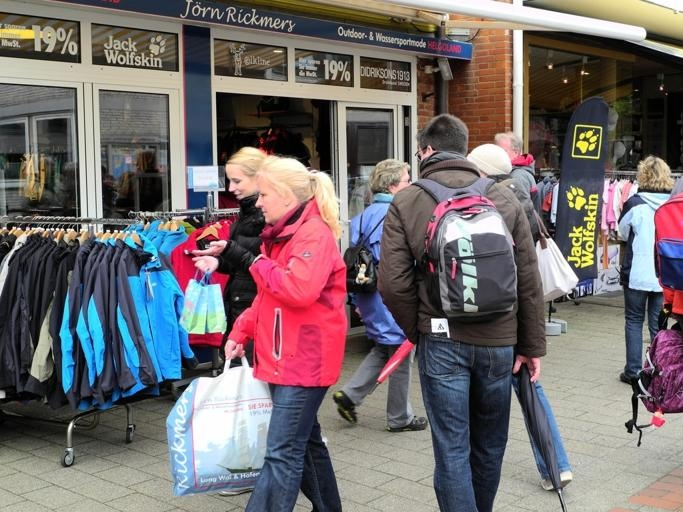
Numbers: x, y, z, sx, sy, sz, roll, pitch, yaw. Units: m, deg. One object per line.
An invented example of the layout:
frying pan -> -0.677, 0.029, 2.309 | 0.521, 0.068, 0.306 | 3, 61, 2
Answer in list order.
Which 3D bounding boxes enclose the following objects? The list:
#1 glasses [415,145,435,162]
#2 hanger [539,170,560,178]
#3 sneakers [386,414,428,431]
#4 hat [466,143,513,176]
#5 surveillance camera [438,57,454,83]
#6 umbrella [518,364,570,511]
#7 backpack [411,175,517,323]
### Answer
glasses -> 0.473, -0.610, 3.576 | 0.037, 0.128, 0.126 | -33, -3, 8
hanger -> 3.341, -1.337, 10.054 | 0.355, 0.136, 0.585 | 1, 2, 12
sneakers -> 0.576, 1.474, 5.439 | 0.339, 0.150, 0.131 | -5, 10, -15
hat -> 1.093, -0.650, 4.428 | 0.299, 0.145, 0.203 | 11, 13, -13
surveillance camera -> 1.507, -2.750, 9.132 | 0.131, 0.355, 0.248 | -14, 13, -6
umbrella -> 1.424, 1.331, 4.377 | 0.160, 1.057, 0.155 | -20, 3, -24
backpack -> 0.617, -0.035, 3.095 | 0.443, 0.707, 0.402 | -1, 4, -1
